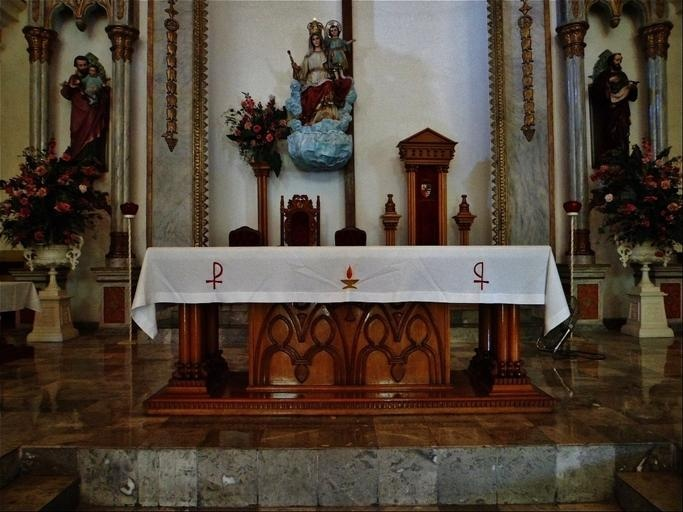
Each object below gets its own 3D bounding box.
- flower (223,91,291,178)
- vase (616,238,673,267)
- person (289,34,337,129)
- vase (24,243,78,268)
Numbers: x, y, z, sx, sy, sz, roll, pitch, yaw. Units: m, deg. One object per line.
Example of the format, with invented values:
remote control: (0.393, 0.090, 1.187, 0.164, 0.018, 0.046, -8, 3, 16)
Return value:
flower: (-1.106, -1.571, 12.328, 0.824, 1.055, 0.636, 7, 11, 12)
vase: (3.724, -0.013, 11.671, 0.532, 0.272, 0.336, 2, -3, 6)
person: (-0.328, -2.283, 12.117, 0.646, 1.193, 0.307, 5, 10, -1)
vase: (-3.606, 0.014, 11.695, 0.325, 0.248, 0.484, -1, -2, 34)
